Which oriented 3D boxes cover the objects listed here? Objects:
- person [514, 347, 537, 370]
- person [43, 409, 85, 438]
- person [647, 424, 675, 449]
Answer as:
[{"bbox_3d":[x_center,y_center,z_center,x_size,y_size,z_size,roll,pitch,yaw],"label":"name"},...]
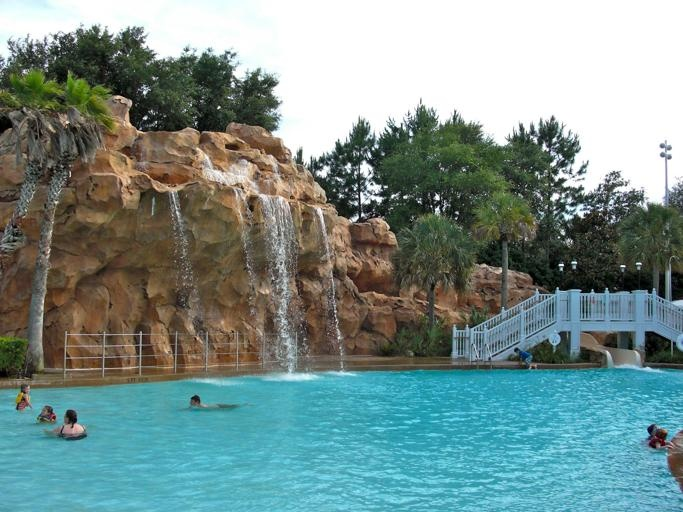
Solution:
[{"bbox_3d":[8.636,4.792,27.081,0.926,0.943,1.961,-3,-8,18],"label":"person"},{"bbox_3d":[-6.152,3.729,13.085,0.555,0.562,0.757,3,-2,-24],"label":"person"},{"bbox_3d":[7.215,4.093,13.162,0.465,0.453,0.954,-5,-9,30],"label":"person"}]
